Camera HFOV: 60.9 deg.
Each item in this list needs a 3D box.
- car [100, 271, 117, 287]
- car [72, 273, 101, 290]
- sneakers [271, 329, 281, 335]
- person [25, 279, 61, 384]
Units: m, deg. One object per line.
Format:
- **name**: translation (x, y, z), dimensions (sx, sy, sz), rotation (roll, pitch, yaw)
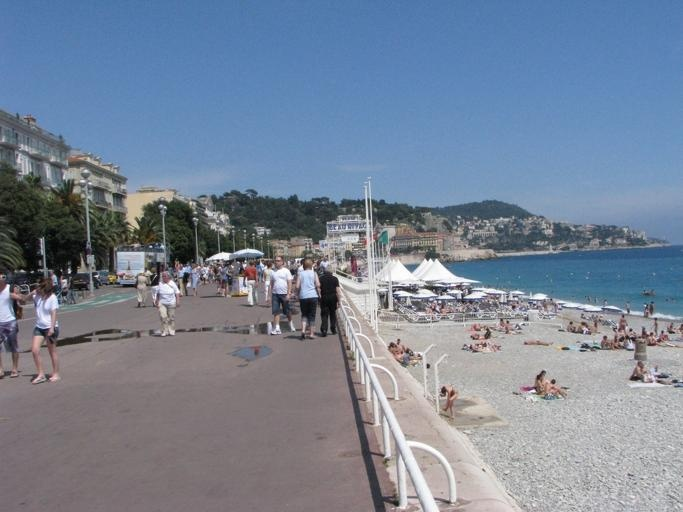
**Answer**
- **car**: translation (-20.617, 2.020, 51.122), dimensions (1.079, 0.986, 1.830), rotation (1, 8, -4)
- **car**: translation (-17.716, 1.731, 40.100), dimensions (1.117, 0.875, 1.811), rotation (2, 7, -2)
- **sneakers**: translation (-1.745, 1.997, 15.448), dimensions (0.130, 0.154, 0.358), rotation (5, -3, -26)
- **person**: translation (-5.628, 1.349, 10.967), dimensions (0.507, 1.917, 1.188), rotation (-3, 3, -27)
